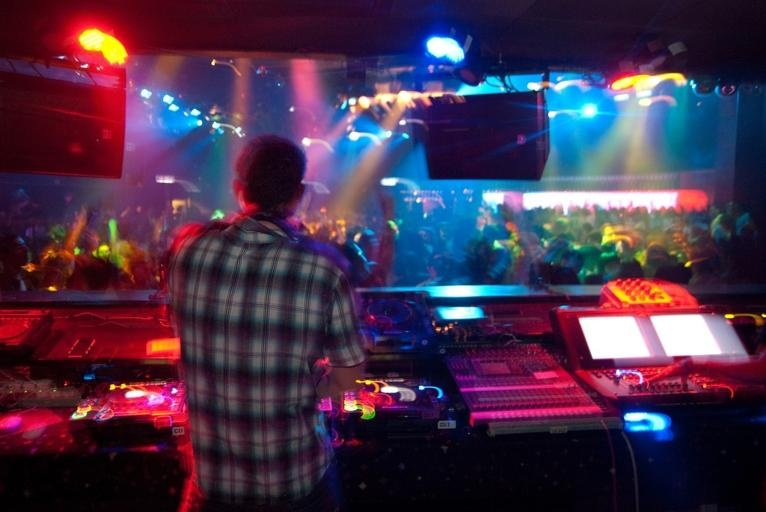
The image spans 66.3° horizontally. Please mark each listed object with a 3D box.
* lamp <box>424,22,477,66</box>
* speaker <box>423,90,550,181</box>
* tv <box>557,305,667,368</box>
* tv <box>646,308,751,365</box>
[{"bbox_3d":[0.503,-1.566,4.346,0.324,0.263,0.130,-7,-14,-11],"label":"lamp"},{"bbox_3d":[0.788,-0.898,4.451,0.781,0.472,0.764,0,4,13],"label":"speaker"},{"bbox_3d":[1.418,0.528,3.720,0.571,0.362,0.125,-6,-23,-6],"label":"tv"},{"bbox_3d":[1.981,0.515,3.709,0.464,0.289,0.089,-4,-20,-9],"label":"tv"}]
